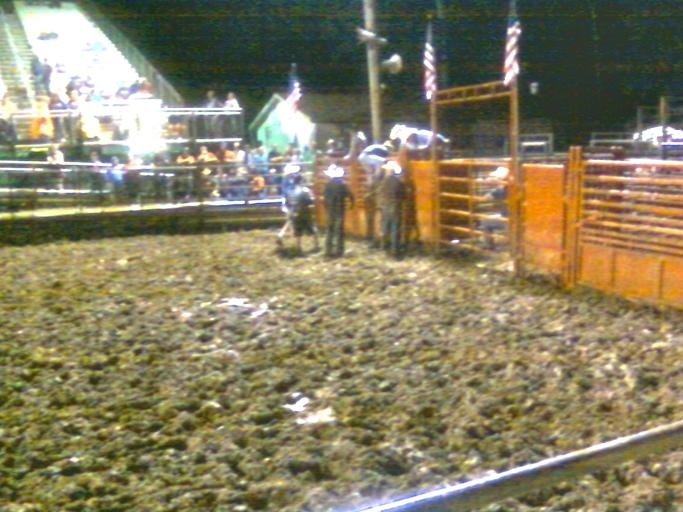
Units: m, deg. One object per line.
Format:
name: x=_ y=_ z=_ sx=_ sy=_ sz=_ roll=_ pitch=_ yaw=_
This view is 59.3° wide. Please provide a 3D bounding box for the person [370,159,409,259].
person: x=0.969 y=-0.898 z=11.062 sx=0.447 sy=1.710 sz=0.912 roll=-1 pitch=13 yaw=5
